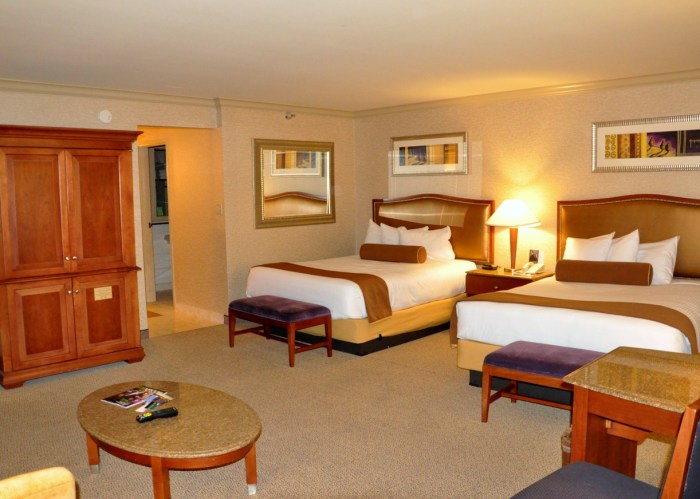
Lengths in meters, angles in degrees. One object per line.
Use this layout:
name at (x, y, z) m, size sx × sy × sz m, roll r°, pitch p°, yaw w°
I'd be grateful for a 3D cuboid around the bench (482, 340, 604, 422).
bench at (1.575, 1.114, 4.203) m, size 0.829 × 0.405 × 0.572 m, roll 2°, pitch -11°, yaw 44°

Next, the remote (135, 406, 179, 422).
remote at (-1.287, 1.092, 3.489) m, size 0.215 × 0.043 × 0.097 m, roll -4°, pitch 8°, yaw -33°

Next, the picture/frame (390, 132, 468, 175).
picture/frame at (1.166, -1.382, 7.724) m, size 1.493 × 0.566 × 0.058 m, roll -10°, pitch 18°, yaw -33°

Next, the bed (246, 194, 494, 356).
bed at (0.219, 0.123, 6.961) m, size 2.415 × 1.195 × 2.279 m, roll -16°, pitch 20°, yaw -37°

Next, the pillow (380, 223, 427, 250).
pillow at (0.754, -0.173, 7.327) m, size 0.543 × 0.253 × 0.143 m, roll 3°, pitch 0°, yaw 29°

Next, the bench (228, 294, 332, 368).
bench at (-0.726, 0.752, 5.889) m, size 1.589 × 0.592 × 0.818 m, roll 4°, pitch 6°, yaw 41°

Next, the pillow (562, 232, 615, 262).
pillow at (2.740, -0.026, 5.960) m, size 0.118 × 0.237 × 0.423 m, roll 32°, pitch -21°, yaw -30°

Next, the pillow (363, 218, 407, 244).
pillow at (0.539, -0.271, 7.675) m, size 0.581 × 0.401 × 0.149 m, roll 2°, pitch -4°, yaw 7°

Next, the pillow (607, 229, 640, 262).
pillow at (2.984, -0.017, 5.707) m, size 0.123 × 0.329 × 0.414 m, roll 34°, pitch -27°, yaw -29°

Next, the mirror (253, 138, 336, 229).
mirror at (-0.877, -0.993, 7.741) m, size 1.822 × 1.152 × 0.069 m, roll -6°, pitch 8°, yaw -40°

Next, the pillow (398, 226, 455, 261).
pillow at (1.064, -0.087, 7.323) m, size 0.926 × 0.482 × 0.286 m, roll 0°, pitch 2°, yaw 40°
